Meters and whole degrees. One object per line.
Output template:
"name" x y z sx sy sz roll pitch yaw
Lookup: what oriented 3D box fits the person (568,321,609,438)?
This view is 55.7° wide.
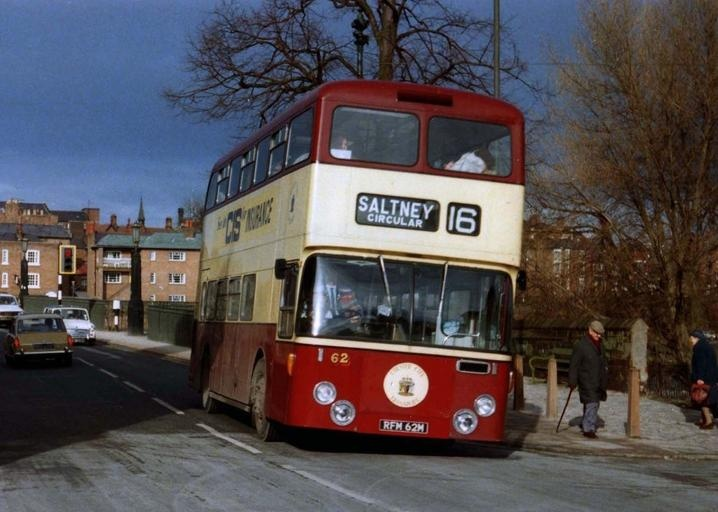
"person" 4.364 2.392 13.113 0.720 2.259 0.568 1 -3 2

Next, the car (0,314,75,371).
"car" -12.377 3.312 26.741 2.282 1.950 1.589 2 -4 -20

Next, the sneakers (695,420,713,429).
"sneakers" 7.322 3.599 14.470 0.345 0.185 0.134 -3 -2 24

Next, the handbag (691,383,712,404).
"handbag" 7.204 2.894 14.315 0.369 0.468 0.183 2 -2 17
